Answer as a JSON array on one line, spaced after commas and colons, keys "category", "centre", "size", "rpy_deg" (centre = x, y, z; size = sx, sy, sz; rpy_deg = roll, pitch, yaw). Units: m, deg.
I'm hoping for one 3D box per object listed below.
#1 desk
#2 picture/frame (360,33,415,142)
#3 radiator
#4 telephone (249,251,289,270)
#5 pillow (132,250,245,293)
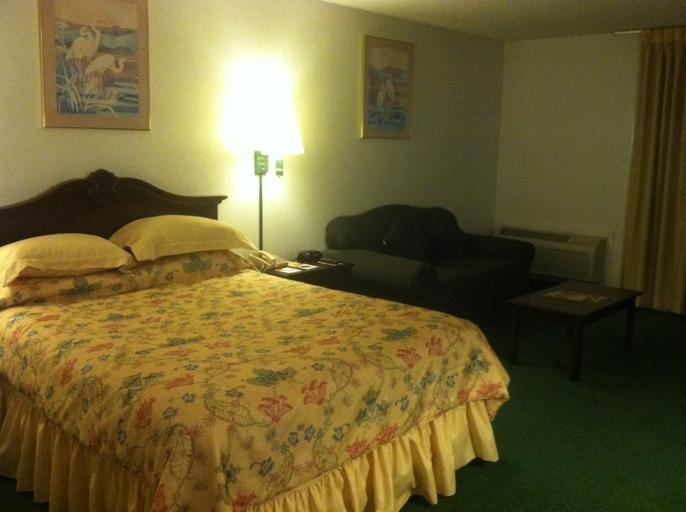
[{"category": "desk", "centre": [1.786, 0.398, 4.095], "size": [1.027, 0.502, 0.733], "rpy_deg": [-11, 14, -39]}, {"category": "picture/frame", "centre": [0.444, -1.683, 5.301], "size": [0.727, 0.946, 0.070], "rpy_deg": [-11, 18, -40]}, {"category": "radiator", "centre": [2.211, 0.011, 6.157], "size": [1.522, 0.650, 0.331], "rpy_deg": [8, -17, -10]}, {"category": "telephone", "centre": [-0.623, 0.036, 4.164], "size": [0.170, 0.072, 0.221], "rpy_deg": [8, 10, 33]}, {"category": "pillow", "centre": [-1.065, 0.088, 3.447], "size": [0.668, 0.221, 0.119], "rpy_deg": [-10, -8, -43]}]
